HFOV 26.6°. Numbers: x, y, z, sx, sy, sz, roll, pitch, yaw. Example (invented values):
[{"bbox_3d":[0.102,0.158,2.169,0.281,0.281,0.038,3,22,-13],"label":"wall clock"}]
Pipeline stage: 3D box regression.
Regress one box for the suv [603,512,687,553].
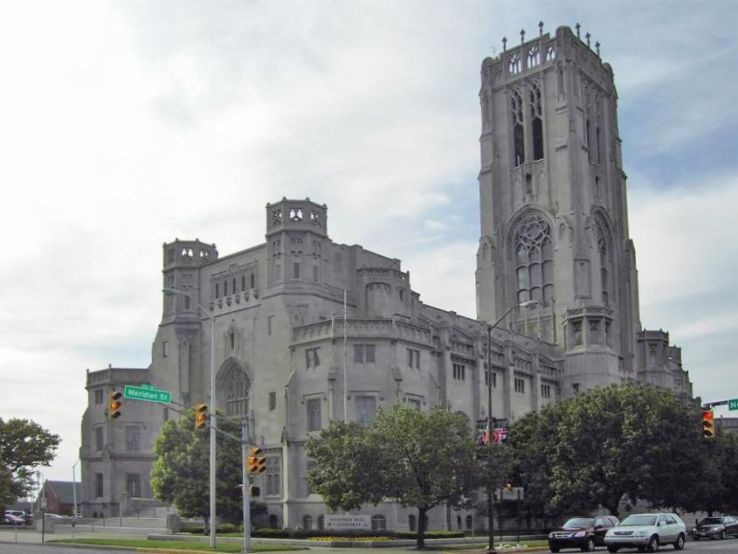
[{"bbox_3d":[23.406,21.466,133.482,7.115,3.430,2.530,8,-23,-28],"label":"suv"}]
